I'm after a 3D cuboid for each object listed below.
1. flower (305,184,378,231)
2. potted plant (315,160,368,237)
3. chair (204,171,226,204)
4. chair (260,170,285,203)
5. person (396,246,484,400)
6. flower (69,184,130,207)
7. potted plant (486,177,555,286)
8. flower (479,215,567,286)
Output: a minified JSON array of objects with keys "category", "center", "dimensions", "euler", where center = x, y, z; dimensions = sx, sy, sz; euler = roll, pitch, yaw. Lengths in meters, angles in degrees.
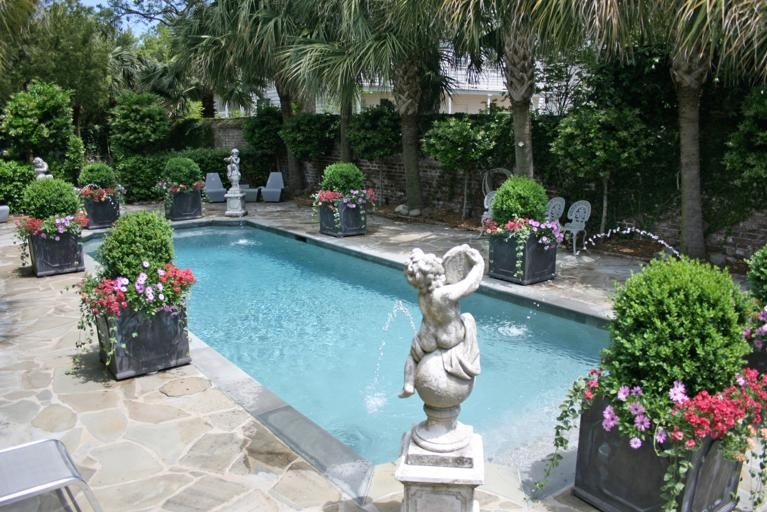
[{"category":"flower","center":[-0.679,-1.065,12.893],"dimensions":[1.169,1.143,1.357],"euler":[-3,6,4]},{"category":"potted plant","center":[-1.027,-1.271,12.840],"dimensions":[1.204,1.676,1.323],"euler":[-5,5,-37]},{"category":"chair","center":[-5.616,-2.227,18.371],"dimensions":[0.842,1.227,0.916],"euler":[-5,13,-33]},{"category":"chair","center":[-3.717,-2.279,18.529],"dimensions":[0.715,0.965,0.701],"euler":[-3,11,-15]},{"category":"person","center":[0.439,0.495,4.228],"dimensions":[0.602,1.152,0.317],"euler":[2,10,10]},{"category":"flower","center":[-6.769,-1.460,13.459],"dimensions":[0.833,0.396,0.838],"euler":[2,5,1]},{"category":"potted plant","center":[2.346,-0.490,9.317],"dimensions":[1.072,1.763,1.166],"euler":[-5,10,-27]},{"category":"flower","center":[2.269,-0.140,9.276],"dimensions":[0.898,1.025,1.150],"euler":[-8,13,-38]}]
